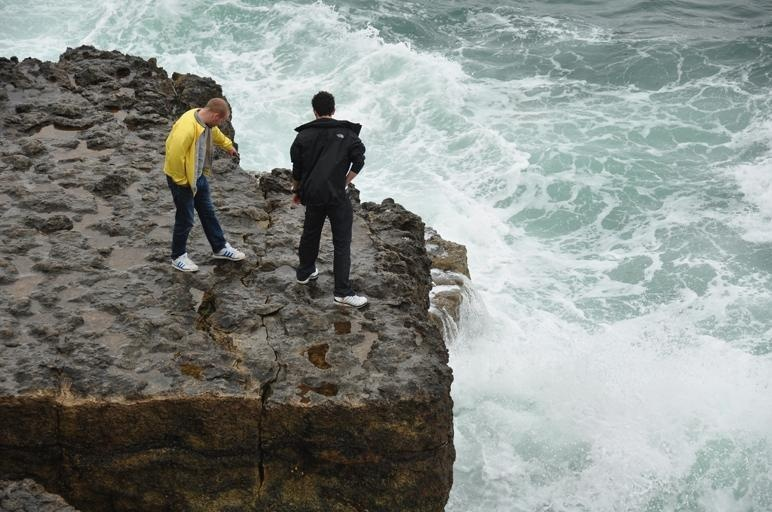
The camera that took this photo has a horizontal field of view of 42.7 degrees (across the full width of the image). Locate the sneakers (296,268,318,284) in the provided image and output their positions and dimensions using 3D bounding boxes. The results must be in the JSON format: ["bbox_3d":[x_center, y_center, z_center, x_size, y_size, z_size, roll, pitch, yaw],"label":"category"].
[{"bbox_3d":[-1.562,0.434,20.018,0.227,0.190,0.484,17,36,23],"label":"sneakers"}]

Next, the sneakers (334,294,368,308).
[{"bbox_3d":[-0.687,0.895,19.769,0.655,0.238,0.237,-1,26,-2],"label":"sneakers"}]
